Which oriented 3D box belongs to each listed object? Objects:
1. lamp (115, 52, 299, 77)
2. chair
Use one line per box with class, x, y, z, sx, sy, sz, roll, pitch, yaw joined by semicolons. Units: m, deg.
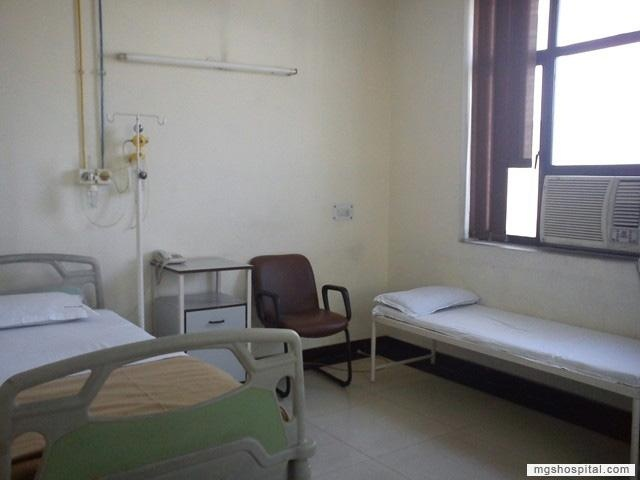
lamp;-0.853;-1.354;3.994;1.401;0.111;0.062;-6;11;-28
chair;-0.196;0.620;4.321;0.871;1.358;0.992;-1;1;-31
